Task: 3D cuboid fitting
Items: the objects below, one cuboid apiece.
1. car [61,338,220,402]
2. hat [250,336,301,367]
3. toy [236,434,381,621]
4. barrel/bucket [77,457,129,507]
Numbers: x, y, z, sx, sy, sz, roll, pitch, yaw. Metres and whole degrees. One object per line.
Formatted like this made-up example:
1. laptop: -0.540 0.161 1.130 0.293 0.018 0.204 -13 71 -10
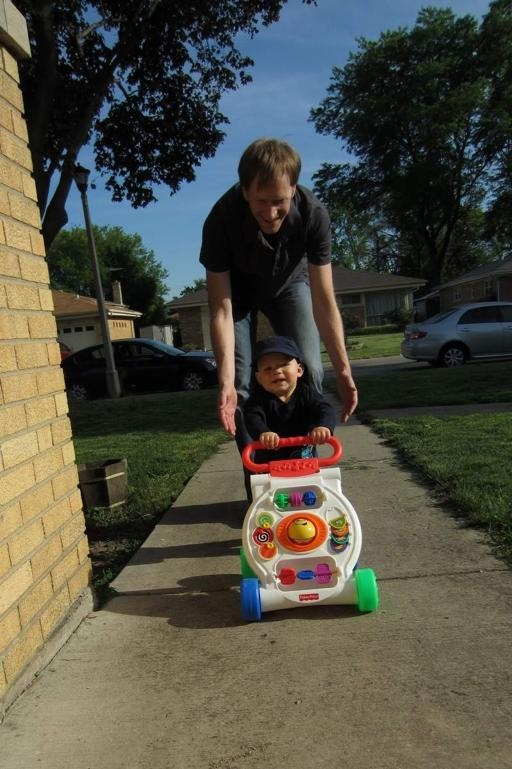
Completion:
1. car: -2.799 -0.325 14.129 4.264 1.380 1.769 -5 -1 6
2. hat: 0.103 -0.162 2.653 0.239 0.139 0.219 -5 2 -1
3. toy: 0.183 0.517 2.205 0.470 0.240 0.749 -5 40 5
4. barrel/bucket: -1.069 0.701 3.943 0.339 0.257 0.360 -9 -2 0
